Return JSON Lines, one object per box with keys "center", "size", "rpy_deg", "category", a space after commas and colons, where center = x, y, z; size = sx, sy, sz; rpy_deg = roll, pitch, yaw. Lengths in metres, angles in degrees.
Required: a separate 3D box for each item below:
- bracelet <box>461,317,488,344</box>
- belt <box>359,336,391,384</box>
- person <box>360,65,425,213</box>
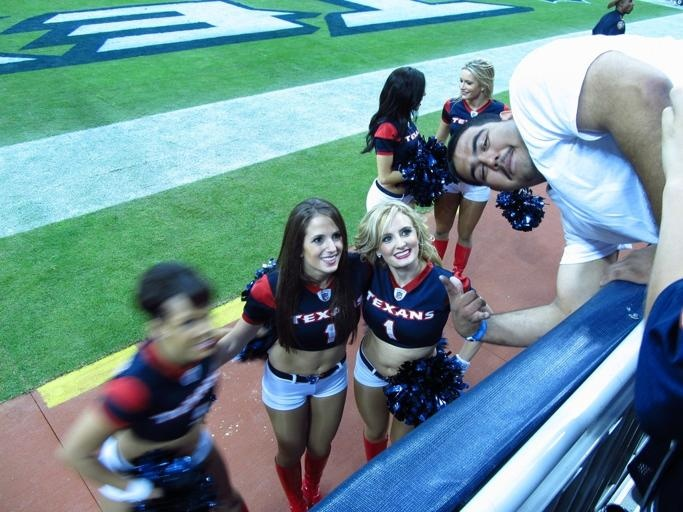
{"center": [0.652, 0.365, 2.343], "size": [0.035, 0.101, 0.110], "rpy_deg": [32, 16, 14], "category": "bracelet"}
{"center": [0.189, 0.717, 3.146], "size": [0.208, 0.151, 0.187], "rpy_deg": [25, -5, -13], "category": "belt"}
{"center": [0.512, -1.117, 4.810], "size": [0.540, 1.359, 0.773], "rpy_deg": [3, 33, 6], "category": "person"}
